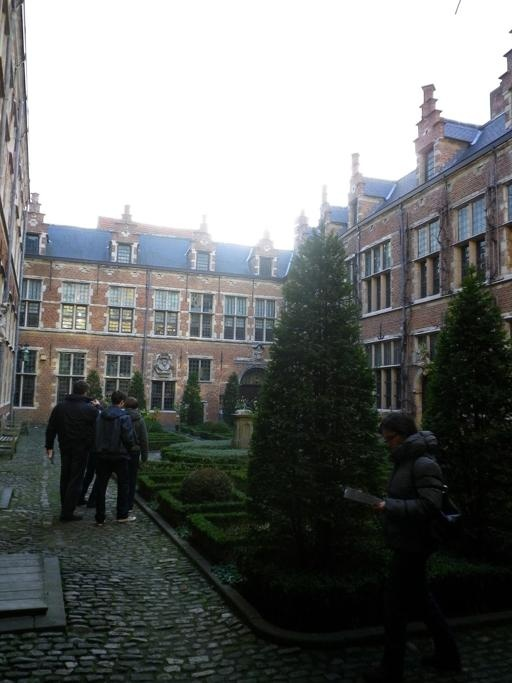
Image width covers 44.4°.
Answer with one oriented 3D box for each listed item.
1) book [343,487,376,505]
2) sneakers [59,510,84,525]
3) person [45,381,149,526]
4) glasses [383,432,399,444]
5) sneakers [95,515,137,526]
[{"bbox_3d":[0.647,0.932,3.774,0.188,0.109,0.205,0,-5,12],"label":"book"},{"bbox_3d":[-2.234,2.135,7.623,0.112,0.128,0.340,3,-1,41],"label":"sneakers"},{"bbox_3d":[-2.039,1.359,7.696,1.054,1.733,0.759,3,-6,-11],"label":"person"},{"bbox_3d":[0.862,0.618,3.991,0.087,0.035,0.064,8,-11,-25],"label":"glasses"},{"bbox_3d":[-1.731,2.212,7.773,0.497,0.183,0.156,-2,-3,-7],"label":"sneakers"}]
